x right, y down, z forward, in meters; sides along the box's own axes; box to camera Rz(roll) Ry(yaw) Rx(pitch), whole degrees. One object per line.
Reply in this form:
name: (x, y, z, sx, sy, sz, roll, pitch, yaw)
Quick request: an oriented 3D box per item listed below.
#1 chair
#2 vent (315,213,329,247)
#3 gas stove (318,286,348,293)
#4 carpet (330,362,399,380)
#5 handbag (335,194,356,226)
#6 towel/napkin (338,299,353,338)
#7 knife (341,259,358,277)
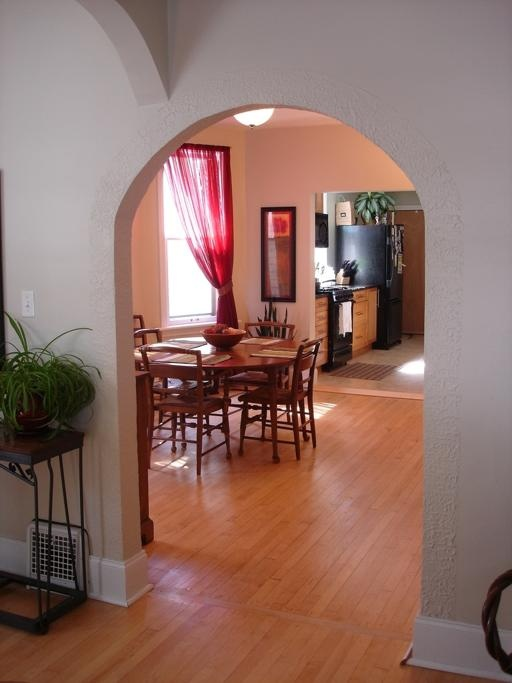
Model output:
chair: (-0.241, 0.388, 4.112, 1.181, 0.756, 1.239, 2, 10, 21)
vent: (0.953, -1.612, 7.698, 0.113, 0.462, 0.496, 2, 12, 15)
gas stove: (1.082, -0.722, 7.378, 0.402, 0.125, 0.814, 0, 4, 8)
carpet: (1.458, 0.391, 7.130, 0.740, 0.112, 1.091, 1, 4, 21)
handbag: (1.484, -2.161, 8.689, 0.254, 0.618, 0.638, 1, 4, 24)
towel/napkin: (1.208, -0.326, 7.204, 0.050, 0.508, 0.432, 4, 11, 27)
knife: (1.492, -1.159, 8.351, 0.202, 0.301, 0.105, 7, -3, -8)
